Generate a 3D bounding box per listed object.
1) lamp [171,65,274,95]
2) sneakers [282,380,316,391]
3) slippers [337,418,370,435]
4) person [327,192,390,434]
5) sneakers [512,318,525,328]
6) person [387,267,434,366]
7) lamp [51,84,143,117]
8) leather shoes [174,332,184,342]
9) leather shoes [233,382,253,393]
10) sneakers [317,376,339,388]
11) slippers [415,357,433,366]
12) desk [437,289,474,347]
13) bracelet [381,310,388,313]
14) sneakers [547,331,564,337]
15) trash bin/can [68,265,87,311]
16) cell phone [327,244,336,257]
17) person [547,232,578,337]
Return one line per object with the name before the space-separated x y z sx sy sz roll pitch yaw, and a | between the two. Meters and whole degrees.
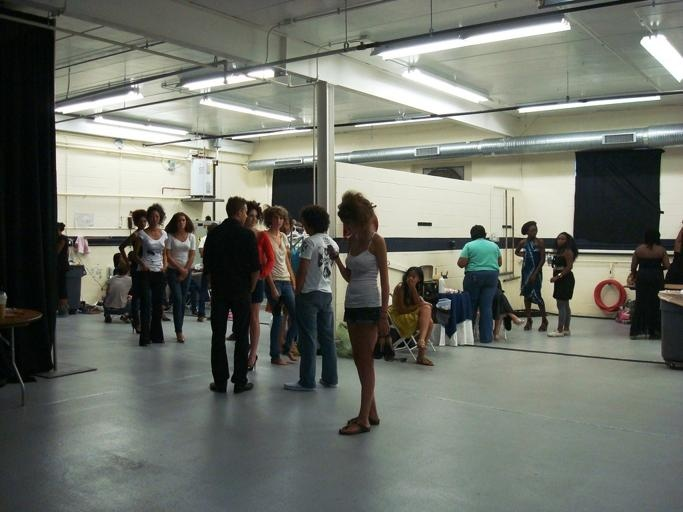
lamp | -1.809 -2.770 8.030 1.774 0.192 0.543 -13 8 1
sneakers | -0.449 1.347 5.501 0.310 0.129 0.124 4 -3 16
slippers | 0.107 1.429 4.338 0.209 0.089 0.124 5 -7 -18
person | 0.174 0.465 4.390 0.430 2.024 0.434 1 3 5
sneakers | 3.174 1.215 9.307 0.174 0.171 0.497 22 -6 19
person | 0.951 0.790 7.100 0.591 1.249 0.826 1 3 7
lamp | -4.713 -2.997 9.910 1.741 0.200 0.314 -5 15 42
leather shoes | -2.490 1.270 7.955 0.074 0.108 0.246 -3 -14 -27
leather shoes | -1.027 1.356 5.406 0.074 0.099 0.226 3 8 25
sneakers | -0.164 1.392 5.670 0.076 0.093 0.210 3 -6 -42
slippers | 1.088 1.400 6.782 0.248 0.110 0.083 -6 -4 29
desk | 1.812 0.984 8.082 0.709 0.941 0.727 -4 -5 44
bracelet | 0.348 0.449 4.197 0.032 0.026 0.034 0 -1 19
sneakers | 3.732 1.358 9.053 0.320 0.138 0.112 2 -4 2
trash bin/can | -5.757 0.713 11.206 0.334 1.005 0.845 -1 3 -27
cell phone | -0.100 -0.050 5.059 0.074 0.077 0.154 10 19 -15
person | 3.898 0.499 9.120 0.417 1.788 0.781 2 3 24
